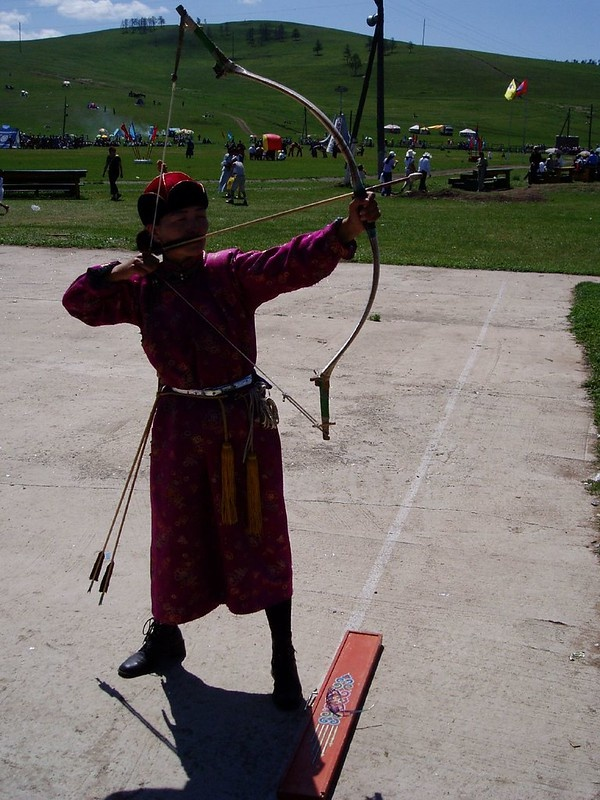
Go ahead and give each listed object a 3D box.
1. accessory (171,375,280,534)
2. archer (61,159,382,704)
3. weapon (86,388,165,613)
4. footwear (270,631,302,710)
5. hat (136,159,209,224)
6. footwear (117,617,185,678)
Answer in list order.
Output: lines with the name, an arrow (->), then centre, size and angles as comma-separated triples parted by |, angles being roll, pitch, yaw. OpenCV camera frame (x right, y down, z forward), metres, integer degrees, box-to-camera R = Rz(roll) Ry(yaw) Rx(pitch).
accessory -> -0.250, 0.187, 2.465 | 0.347, 0.511, 0.223 | 2, 12, -8
archer -> -0.277, 0.161, 2.505 | 0.987, 1.769, 0.302 | 6, 12, 13
weapon -> -0.846, 0.501, 3.637 | 0.123, 1.068, 0.100 | 4, -27, 35
footwear -> -0.041, 0.934, 2.655 | 0.121, 0.225, 0.254 | -6, -5, -2
hat -> -0.423, -0.665, 2.476 | 0.289, 0.109, 0.322 | -15, 21, -11
footwear -> -0.546, 0.892, 2.762 | 0.272, 0.165, 0.101 | -2, -3, -42
